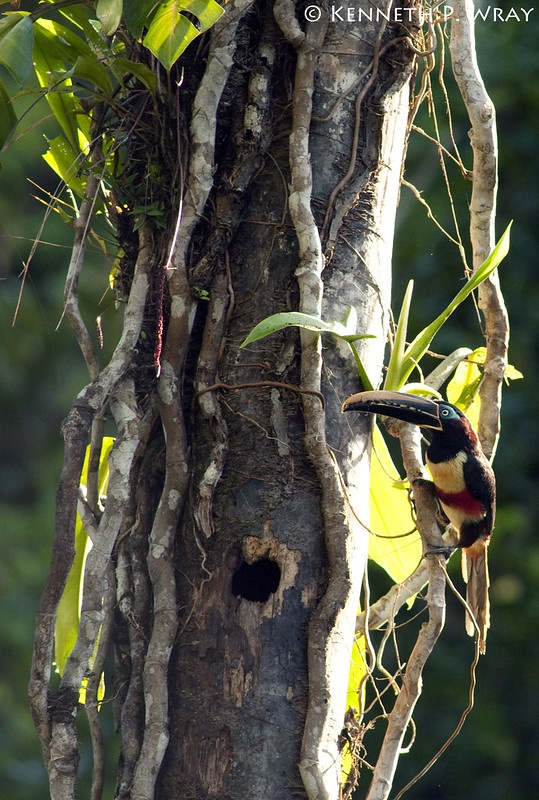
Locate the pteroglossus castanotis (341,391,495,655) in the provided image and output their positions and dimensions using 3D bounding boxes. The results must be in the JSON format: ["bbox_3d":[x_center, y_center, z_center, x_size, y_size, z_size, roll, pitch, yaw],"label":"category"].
[{"bbox_3d":[0.266,0.255,3.258,0.260,0.673,0.377,2,33,6],"label":"pteroglossus castanotis"}]
